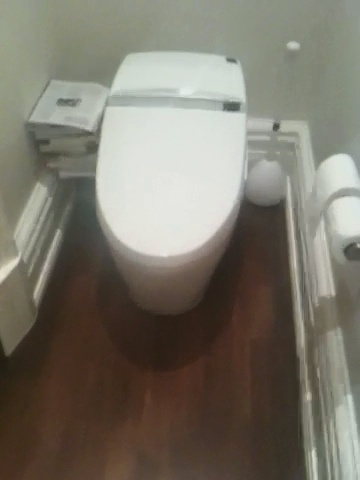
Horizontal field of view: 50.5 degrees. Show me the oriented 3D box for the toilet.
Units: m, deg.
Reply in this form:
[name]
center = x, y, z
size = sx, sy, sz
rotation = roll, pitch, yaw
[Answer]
[toilet]
center = -0.004, -0.205, 1.072
size = 0.318, 0.451, 0.705
rotation = 3, 65, 5
